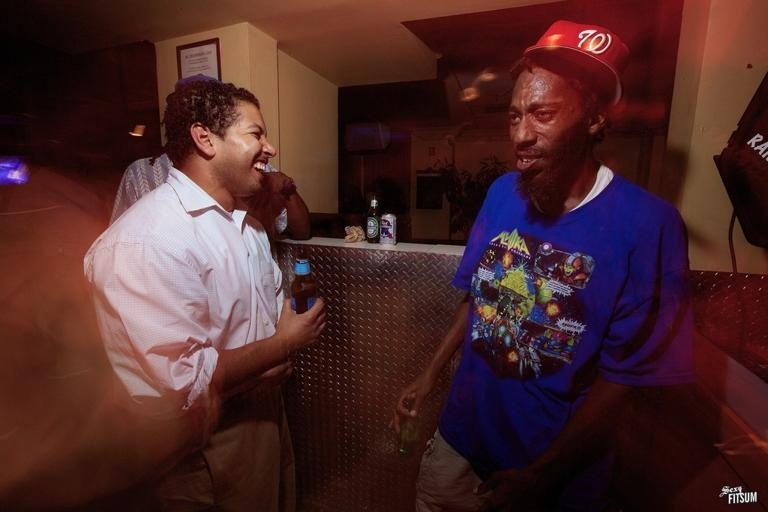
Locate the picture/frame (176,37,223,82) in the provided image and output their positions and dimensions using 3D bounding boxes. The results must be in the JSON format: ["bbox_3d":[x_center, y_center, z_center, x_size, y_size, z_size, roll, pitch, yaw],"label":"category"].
[{"bbox_3d":[-0.750,-0.812,2.059,0.225,0.234,0.024,11,29,12],"label":"picture/frame"}]
